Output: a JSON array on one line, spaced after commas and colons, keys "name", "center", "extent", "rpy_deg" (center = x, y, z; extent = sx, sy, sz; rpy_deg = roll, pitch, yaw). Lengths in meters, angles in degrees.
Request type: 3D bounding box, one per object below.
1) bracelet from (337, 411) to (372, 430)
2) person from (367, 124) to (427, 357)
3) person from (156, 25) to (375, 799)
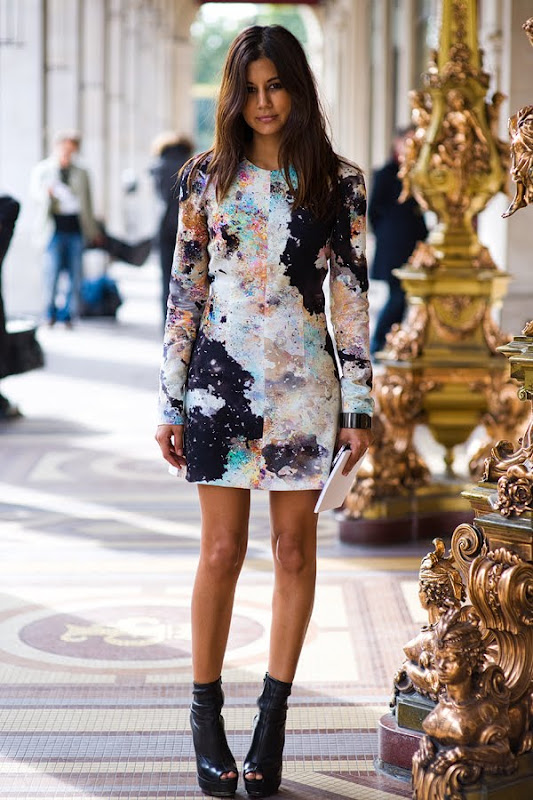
[{"name": "bracelet", "center": [0.188, 0.044, 2.115], "extent": [0.047, 0.025, 0.046], "rpy_deg": [2, -2, 24]}, {"name": "person", "center": [1.284, -1.409, 9.703], "extent": [0.550, 1.927, 0.796], "rpy_deg": [-4, 16, -13]}, {"name": "person", "center": [-0.011, 0.027, 2.075], "extent": [0.464, 1.573, 0.485], "rpy_deg": [2, 16, 5]}]
